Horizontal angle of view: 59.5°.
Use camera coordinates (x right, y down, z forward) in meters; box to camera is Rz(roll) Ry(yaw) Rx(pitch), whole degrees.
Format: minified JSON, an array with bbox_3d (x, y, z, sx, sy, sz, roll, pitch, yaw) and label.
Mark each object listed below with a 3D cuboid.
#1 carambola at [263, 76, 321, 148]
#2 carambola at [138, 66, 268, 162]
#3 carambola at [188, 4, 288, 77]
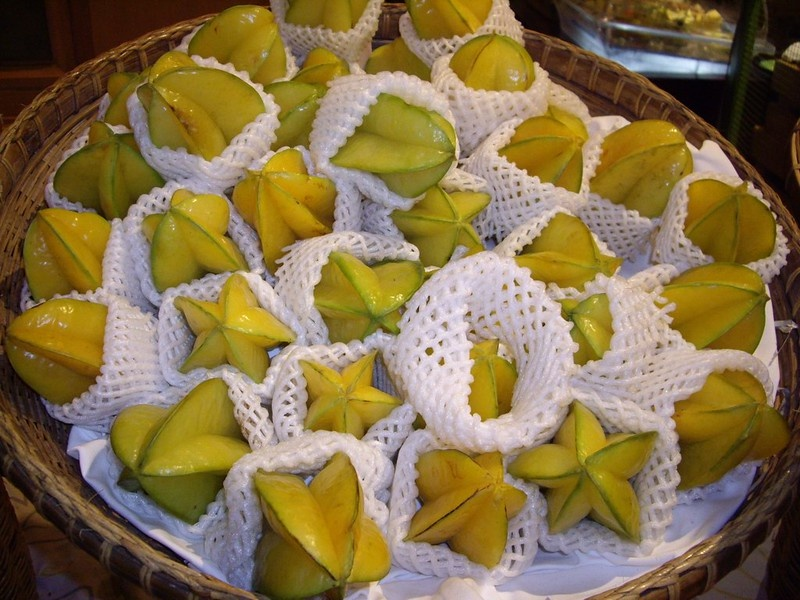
[{"bbox_3d":[-0.276,-0.463,1.752,0.173,0.135,0.049,-35,7,6],"label":"carambola"},{"bbox_3d":[-0.518,-0.484,1.699,0.271,0.131,0.235,-19,10,-25],"label":"carambola"},{"bbox_3d":[-0.420,-0.686,1.805,0.177,0.152,0.240,-8,35,6],"label":"carambola"}]
